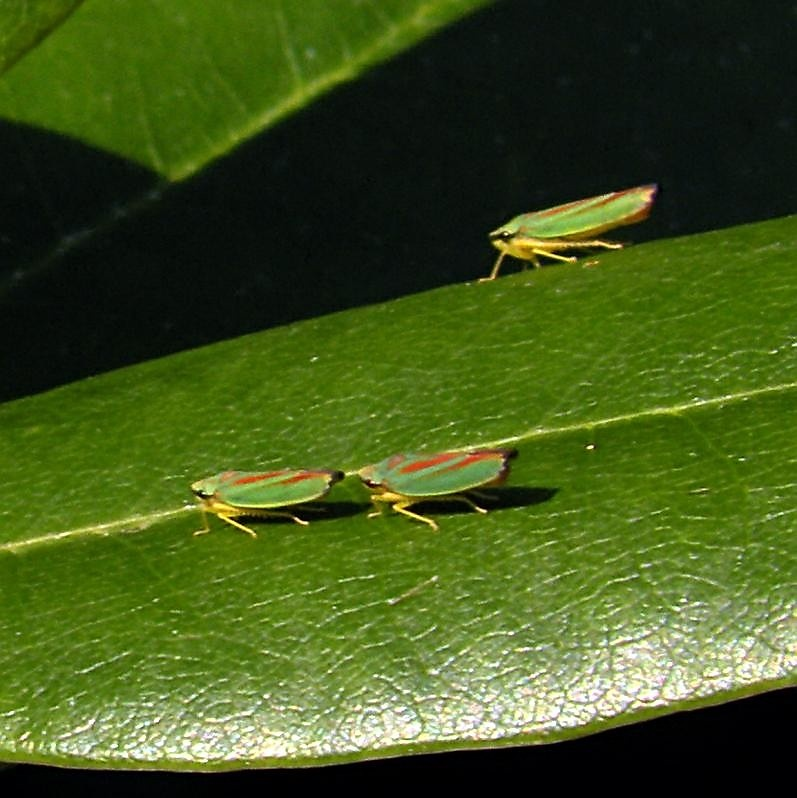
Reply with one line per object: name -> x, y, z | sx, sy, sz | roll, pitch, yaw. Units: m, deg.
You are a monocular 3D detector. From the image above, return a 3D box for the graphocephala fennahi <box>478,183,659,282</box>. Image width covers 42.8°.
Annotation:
graphocephala fennahi -> 0.386, -0.384, 2.279 | 0.193, 0.159, 0.327 | -27, 25, -35

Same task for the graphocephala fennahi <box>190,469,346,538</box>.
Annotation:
graphocephala fennahi -> -0.204, 0.162, 1.579 | 0.220, 0.050, 0.119 | -2, 5, 9
